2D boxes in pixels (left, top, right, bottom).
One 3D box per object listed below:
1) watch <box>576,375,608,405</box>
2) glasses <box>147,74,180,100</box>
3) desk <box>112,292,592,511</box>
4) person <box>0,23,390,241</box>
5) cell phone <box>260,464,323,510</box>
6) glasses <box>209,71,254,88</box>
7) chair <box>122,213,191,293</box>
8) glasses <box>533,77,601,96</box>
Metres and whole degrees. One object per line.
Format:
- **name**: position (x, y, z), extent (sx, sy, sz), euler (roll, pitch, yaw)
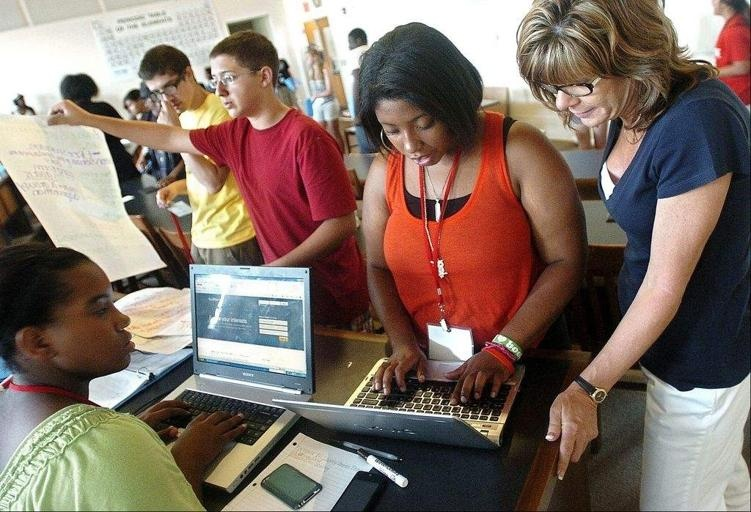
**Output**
- **watch**: position (0.550, 0.344, 1.305), extent (0.056, 0.060, 0.035), euler (28, 85, 52)
- **glasses**: position (-1.087, -0.869, 2.629), extent (0.125, 0.040, 0.127), euler (-6, 53, 27)
- **desk**: position (-0.051, 0.418, 1.427), extent (0.639, 0.317, 0.352), euler (5, 39, 22)
- **person**: position (-1.277, -0.832, 3.130), extent (2.303, 1.553, 0.540), euler (2, 4, 8)
- **cell phone**: position (-0.214, 0.586, 1.287), extent (0.148, 0.030, 0.089), euler (8, 28, 42)
- **glasses**: position (-0.609, -0.727, 2.085), extent (0.095, 0.030, 0.101), euler (5, 17, 43)
- **chair**: position (-1.121, -0.028, 2.653), extent (0.269, 0.424, 0.290), euler (-23, 57, -19)
- **glasses**: position (0.476, -0.416, 1.274), extent (0.038, 0.044, 0.155), euler (-27, 25, -34)
